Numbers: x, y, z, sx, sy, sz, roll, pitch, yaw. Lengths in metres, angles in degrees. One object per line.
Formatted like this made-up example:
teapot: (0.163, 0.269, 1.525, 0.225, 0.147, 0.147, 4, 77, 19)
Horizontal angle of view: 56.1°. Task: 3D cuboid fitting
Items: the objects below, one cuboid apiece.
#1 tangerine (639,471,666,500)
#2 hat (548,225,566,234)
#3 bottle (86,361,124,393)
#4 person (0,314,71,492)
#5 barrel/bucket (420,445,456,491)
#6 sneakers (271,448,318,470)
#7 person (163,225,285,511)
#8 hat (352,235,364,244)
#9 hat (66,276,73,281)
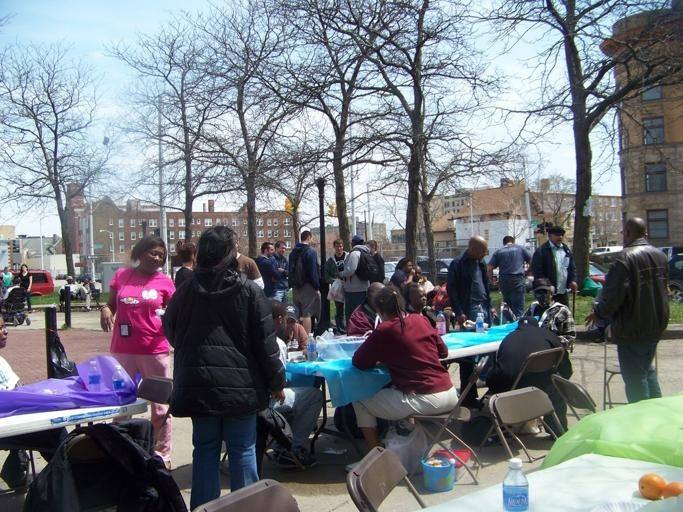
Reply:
tangerine: (1.677, 1.250, 3.478, 0.133, 0.112, 0.107, 2, -37, 0)
hat: (3.634, -0.422, 10.884, 0.238, 0.098, 0.178, -10, -8, 43)
bottle: (-1.928, 0.971, 5.233, 0.338, 0.192, 0.256, -3, 1, -5)
person: (-2.753, 1.352, 5.629, 0.581, 1.331, 1.327, -3, 1, -25)
barrel/bucket: (0.890, 1.979, 5.923, 0.257, 0.210, 0.271, 0, 0, 0)
sneakers: (-0.514, 2.063, 6.524, 0.498, 0.249, 0.193, 0, 3, 13)
person: (-0.888, 0.864, 4.939, 0.894, 2.196, 0.428, -3, 2, -13)
hat: (0.306, -0.357, 12.642, 0.141, 0.154, 0.184, -33, -23, 23)
hat: (-11.651, 0.956, 27.452, 0.240, 0.134, 0.349, 2, -2, -15)
